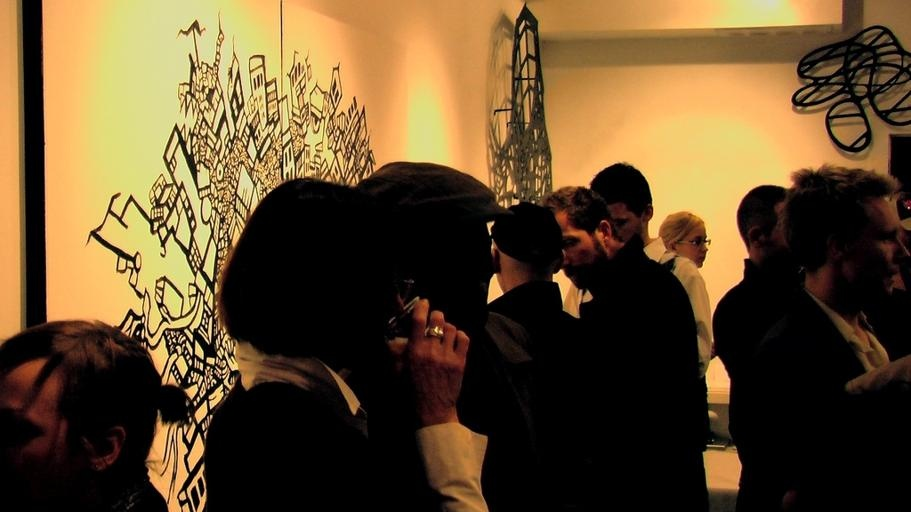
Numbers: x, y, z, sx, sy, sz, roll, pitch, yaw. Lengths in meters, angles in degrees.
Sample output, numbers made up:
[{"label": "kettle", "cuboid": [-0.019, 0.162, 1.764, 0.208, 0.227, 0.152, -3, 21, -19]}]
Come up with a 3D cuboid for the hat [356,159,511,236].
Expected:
[{"label": "hat", "cuboid": [-0.088, -0.227, 3.109, 0.407, 0.131, 0.290, 1, 17, -9]}]

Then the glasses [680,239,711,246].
[{"label": "glasses", "cuboid": [1.644, -0.092, 5.820, 0.135, 0.039, 0.137, -1, -3, 35]}]

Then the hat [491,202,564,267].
[{"label": "hat", "cuboid": [0.333, -0.093, 3.655, 0.237, 0.163, 0.315, 8, 18, -8]}]
